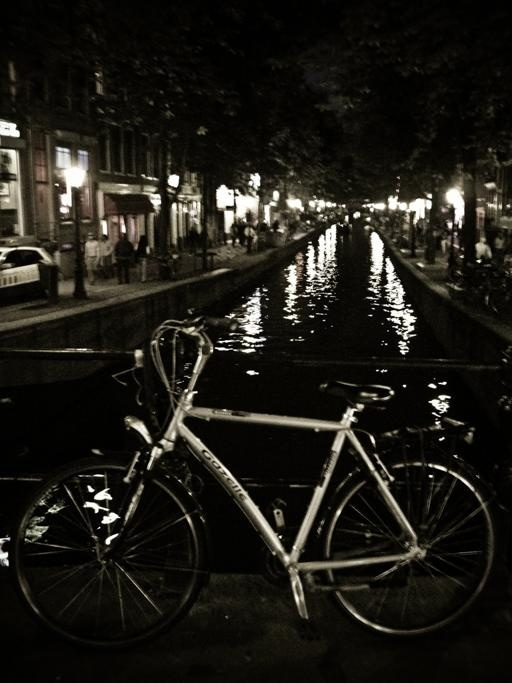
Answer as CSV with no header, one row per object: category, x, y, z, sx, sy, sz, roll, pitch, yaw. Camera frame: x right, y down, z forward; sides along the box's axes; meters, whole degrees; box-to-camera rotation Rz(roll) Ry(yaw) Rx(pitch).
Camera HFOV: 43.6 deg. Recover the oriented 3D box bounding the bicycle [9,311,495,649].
bicycle,-0.005,0.626,2.980,2.082,1.411,1.006,2,0,-4
